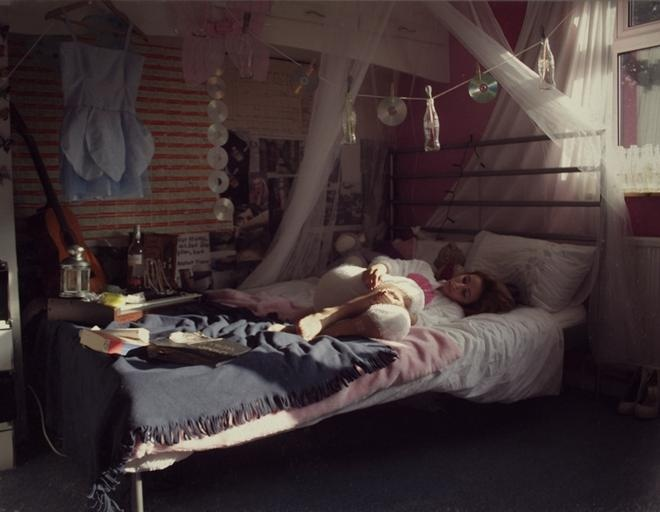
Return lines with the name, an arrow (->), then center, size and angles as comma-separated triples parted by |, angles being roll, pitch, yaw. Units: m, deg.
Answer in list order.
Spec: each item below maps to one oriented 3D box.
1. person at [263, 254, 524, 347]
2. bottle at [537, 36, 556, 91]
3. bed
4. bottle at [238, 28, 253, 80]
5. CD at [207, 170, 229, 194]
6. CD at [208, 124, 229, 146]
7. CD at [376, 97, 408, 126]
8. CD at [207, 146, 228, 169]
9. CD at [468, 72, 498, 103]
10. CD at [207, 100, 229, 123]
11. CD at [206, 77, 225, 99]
person -> 0.400, 0.251, 3.057 | 1.057, 0.335, 0.639 | -4, -2, -25
bottle -> 1.391, -1.222, 3.180 | 0.099, 0.315, 0.458 | 5, 14, 23
bed -> -0.149, 0.187, 2.809 | 2.109, 1.120, 1.407 | -3, 7, -30
bottle -> -0.610, -1.441, 3.562 | 0.100, 0.286, 0.093 | -1, 13, 0
CD -> -0.925, -0.621, 4.138 | 0.174, 0.174, 0.039 | -6, 6, -33
CD -> -0.925, -0.990, 4.092 | 0.167, 0.168, 0.038 | -10, 12, -33
CD -> 0.540, -1.270, 4.353 | 0.236, 0.232, 0.194 | 2, 13, 11
CD -> -0.927, -0.816, 4.101 | 0.169, 0.170, 0.038 | -13, 17, -26
CD -> 1.170, -1.288, 3.789 | 0.207, 0.213, 0.137 | -7, 14, -26
CD -> -0.922, -1.180, 4.065 | 0.155, 0.172, 0.053 | -8, 15, -27
CD -> -0.917, -1.356, 3.990 | 0.132, 0.156, 0.035 | -2, 13, -7
